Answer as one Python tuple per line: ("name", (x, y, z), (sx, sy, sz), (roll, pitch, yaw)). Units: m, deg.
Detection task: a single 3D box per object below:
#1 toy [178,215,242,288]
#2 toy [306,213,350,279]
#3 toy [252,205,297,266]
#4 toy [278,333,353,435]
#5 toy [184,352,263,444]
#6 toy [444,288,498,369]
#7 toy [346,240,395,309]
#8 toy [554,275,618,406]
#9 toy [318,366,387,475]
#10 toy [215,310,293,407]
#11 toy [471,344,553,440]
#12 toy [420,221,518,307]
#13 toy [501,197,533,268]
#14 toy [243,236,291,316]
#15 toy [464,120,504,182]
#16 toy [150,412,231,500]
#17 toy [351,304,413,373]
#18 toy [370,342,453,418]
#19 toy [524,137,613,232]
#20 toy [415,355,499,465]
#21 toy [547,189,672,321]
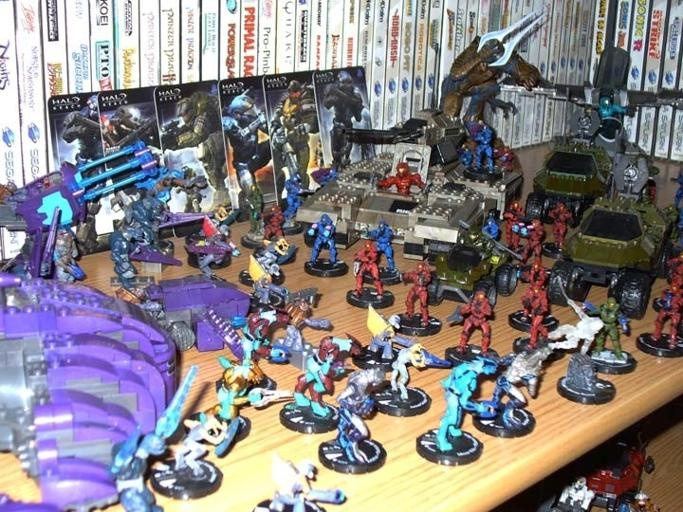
("toy", (-1.301, -0.091, 5.403), (0.495, 0.512, 0.482), (-3, 22, -35))
("toy", (-0.173, -0.133, 5.681), (0.435, 0.617, 0.441), (3, 17, 9))
("toy", (-0.610, -0.167, 5.067), (0.255, 0.281, 0.254), (2, 45, 7))
("toy", (-0.112, 0.823, 3.673), (0.534, 0.608, 0.454), (4, 5, 11))
("toy", (-0.723, 0.869, 3.397), (0.330, 0.556, 0.353), (30, 20, 36))
("toy", (1.043, 0.545, 4.323), (0.409, 0.583, 0.402), (5, 13, 18))
("toy", (0.259, 0.152, 5.167), (0.432, 0.593, 0.440), (1, 14, 7))
("toy", (1.786, 0.620, 4.383), (0.638, 1.113, 0.569), (0, 12, 15))
("toy", (0.091, 0.966, 3.404), (0.439, 0.616, 0.426), (1, 5, -31))
("toy", (-0.587, 0.529, 3.786), (0.320, 0.387, 0.388), (37, 5, -6))
("toy", (1.110, 0.865, 3.673), (0.383, 0.575, 0.382), (-8, 23, -43))
("toy", (1.323, 0.075, 5.553), (0.747, 0.605, 1.228), (9, 20, 27))
("toy", (1.823, -0.282, 5.841), (0.355, 0.822, 0.282), (32, 66, 27))
("toy", (-0.673, 0.138, 4.952), (0.434, 0.309, 1.347), (25, 12, -8))
("toy", (1.756, -1.319, 6.873), (0.443, 0.692, 0.393), (-2, 18, 9))
("toy", (-0.870, 1.187, 3.214), (0.392, 0.437, 0.393), (-5, 27, -34))
("toy", (0.345, 0.635, 4.252), (0.494, 0.418, 0.501), (3, 11, 33))
("toy", (0.477, 0.843, 3.860), (0.494, 0.464, 0.451), (5, 10, 6))
("toy", (2.879, -0.976, 6.947), (0.809, 0.744, 1.551), (9, 49, 28))
("toy", (0.719, 0.942, 3.446), (0.492, 0.585, 0.428), (1, 7, -1))
("toy", (2.825, -0.094, 5.730), (0.901, 0.803, 1.730), (14, 30, 33))
